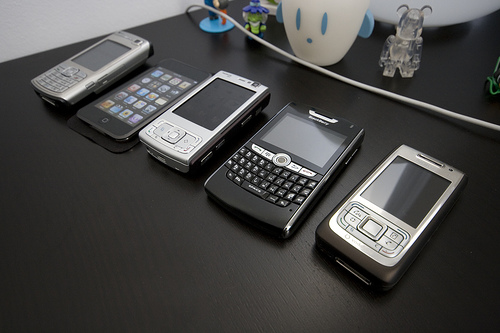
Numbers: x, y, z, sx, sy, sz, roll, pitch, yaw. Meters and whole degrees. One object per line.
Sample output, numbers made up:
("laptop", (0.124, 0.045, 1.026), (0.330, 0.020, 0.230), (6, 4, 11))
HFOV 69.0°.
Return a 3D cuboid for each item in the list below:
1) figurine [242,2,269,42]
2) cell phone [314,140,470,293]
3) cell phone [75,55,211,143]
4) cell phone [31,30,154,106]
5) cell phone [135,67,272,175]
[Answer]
("figurine", (0.012, -0.313, 0.771), (0.045, 0.040, 0.086), (-128, -151, -46))
("cell phone", (0.220, 0.064, 0.545), (0.132, 0.242, 0.058), (28, -35, 40))
("cell phone", (-0.187, -0.129, 0.683), (0.135, 0.259, 0.026), (20, -44, 26))
("cell phone", (-0.288, -0.198, 0.721), (0.121, 0.229, 0.054), (34, -28, 29))
("cell phone", (-0.072, -0.083, 0.646), (0.133, 0.242, 0.054), (21, -41, 27))
